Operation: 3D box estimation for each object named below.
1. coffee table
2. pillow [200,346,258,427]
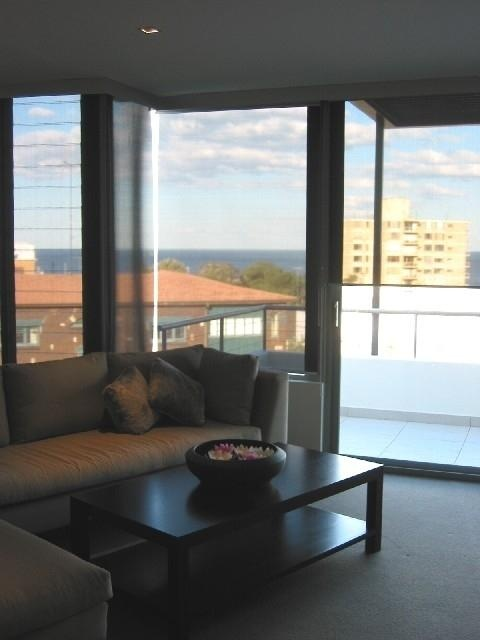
[{"bbox_3d":[-0.011,0.889,2.527,1.297,0.500,0.695,-6,9,-44],"label":"coffee table"},{"bbox_3d":[-0.058,0.428,3.591,0.392,0.413,0.141,-1,-9,35],"label":"pillow"}]
